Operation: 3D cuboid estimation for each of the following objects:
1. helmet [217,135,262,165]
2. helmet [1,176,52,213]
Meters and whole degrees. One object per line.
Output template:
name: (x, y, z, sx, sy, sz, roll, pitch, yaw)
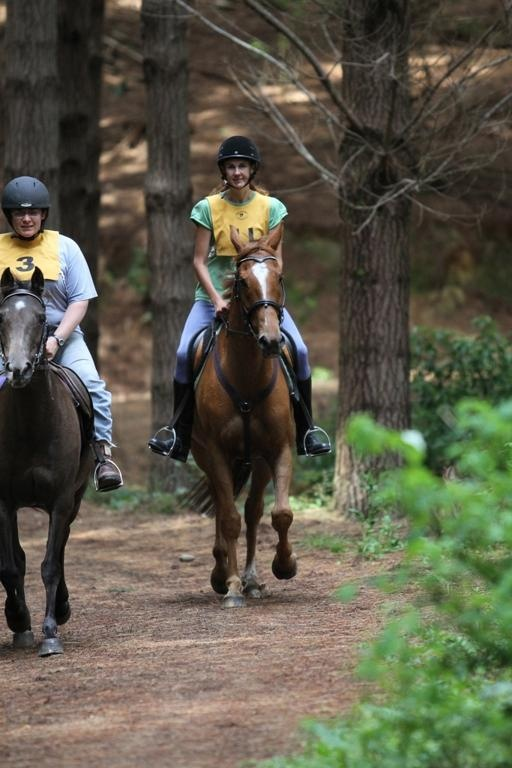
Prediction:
helmet: (-0.118, -1.696, 7.565, 0.308, 0.220, 0.234, 1, 2, -15)
helmet: (-1.495, -1.251, 6.952, 0.276, 0.186, 0.275, 0, 8, -3)
